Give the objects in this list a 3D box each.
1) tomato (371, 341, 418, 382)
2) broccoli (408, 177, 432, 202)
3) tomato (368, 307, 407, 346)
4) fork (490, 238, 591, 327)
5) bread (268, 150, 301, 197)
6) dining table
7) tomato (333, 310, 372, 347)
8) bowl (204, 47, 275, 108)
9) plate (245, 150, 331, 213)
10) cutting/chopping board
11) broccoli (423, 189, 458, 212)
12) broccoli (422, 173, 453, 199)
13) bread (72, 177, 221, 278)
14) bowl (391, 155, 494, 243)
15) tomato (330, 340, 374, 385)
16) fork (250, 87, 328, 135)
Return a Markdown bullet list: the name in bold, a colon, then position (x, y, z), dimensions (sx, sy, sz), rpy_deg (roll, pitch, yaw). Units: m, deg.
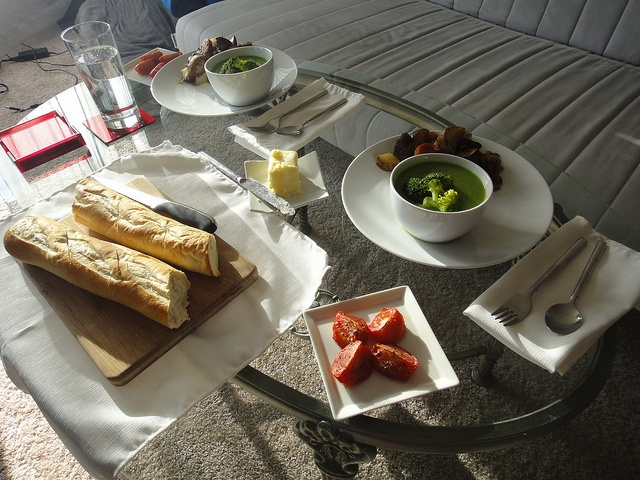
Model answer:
- **tomato**: position (0.120, 0.202, 0.712), dimensions (0.069, 0.025, 0.052), rpy_deg (26, 76, 11)
- **broccoli**: position (0.176, -0.090, 0.774), dimensions (0.036, 0.025, 0.044), rpy_deg (0, 45, 6)
- **tomato**: position (0.110, 0.154, 0.765), dimensions (0.065, 0.024, 0.060), rpy_deg (-27, 18, -36)
- **fork**: position (0.391, 0.079, 0.764), dimensions (0.231, 0.019, 0.032), rpy_deg (-33, 53, -20)
- **bread**: position (-0.064, -0.132, 0.952), dimensions (0.080, 0.083, 0.117), rpy_deg (2, 55, 2)
- **dining table**: position (-0.041, 0.082, 0.905), dimensions (1.009, 0.269, 0.755), rpy_deg (34, 61, 19)
- **tomato**: position (0.057, 0.154, 0.760), dimensions (0.062, 0.026, 0.065), rpy_deg (-19, 50, -12)
- **bowl**: position (-0.184, -0.380, 1.102), dimensions (0.169, 0.107, 0.172), rpy_deg (-2, 51, 2)
- **plate**: position (-0.074, -0.118, 0.917), dimensions (0.141, 0.021, 0.149), rpy_deg (-8, 56, -9)
- **cutting/chopping board**: position (-0.346, 0.067, 0.837), dimensions (0.349, 0.053, 0.304), rpy_deg (35, 60, 27)
- **broccoli**: position (0.212, -0.065, 0.753), dimensions (0.047, 0.029, 0.044), rpy_deg (9, 40, 27)
- **broccoli**: position (0.213, -0.104, 0.777), dimensions (0.047, 0.040, 0.047), rpy_deg (5, 41, 4)
- **bread**: position (-0.341, -0.018, 0.835), dimensions (0.239, 0.066, 0.069), rpy_deg (33, 50, 9)
- **bowl**: position (0.218, -0.079, 0.804), dimensions (0.175, 0.090, 0.163), rpy_deg (-1, 50, 1)
- **tomato**: position (0.051, 0.204, 0.705), dimensions (0.063, 0.043, 0.070), rpy_deg (-25, 35, 21)
- **fork**: position (-0.070, -0.285, 1.025), dimensions (0.078, 0.030, 0.217), rpy_deg (38, 57, 25)
